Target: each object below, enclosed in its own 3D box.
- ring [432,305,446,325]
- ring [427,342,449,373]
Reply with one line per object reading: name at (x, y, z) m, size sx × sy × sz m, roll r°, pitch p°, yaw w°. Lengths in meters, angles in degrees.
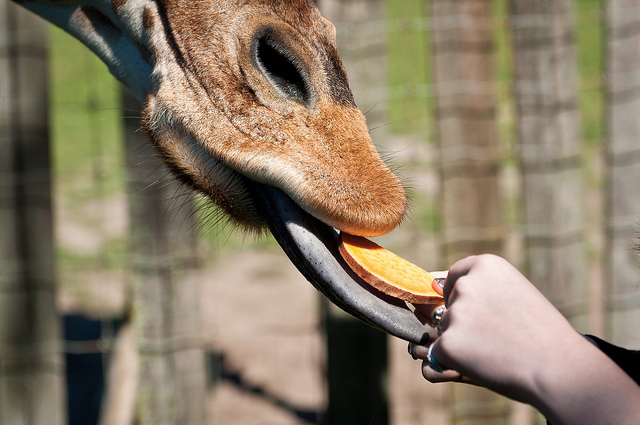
ring at (0.263, 0.226, 2.982) m, size 0.033 × 0.035 × 0.037 m, roll 16°, pitch 69°, yaw 17°
ring at (0.250, 0.319, 2.927) m, size 0.026 × 0.050 × 0.063 m, roll -18°, pitch 99°, yaw 5°
